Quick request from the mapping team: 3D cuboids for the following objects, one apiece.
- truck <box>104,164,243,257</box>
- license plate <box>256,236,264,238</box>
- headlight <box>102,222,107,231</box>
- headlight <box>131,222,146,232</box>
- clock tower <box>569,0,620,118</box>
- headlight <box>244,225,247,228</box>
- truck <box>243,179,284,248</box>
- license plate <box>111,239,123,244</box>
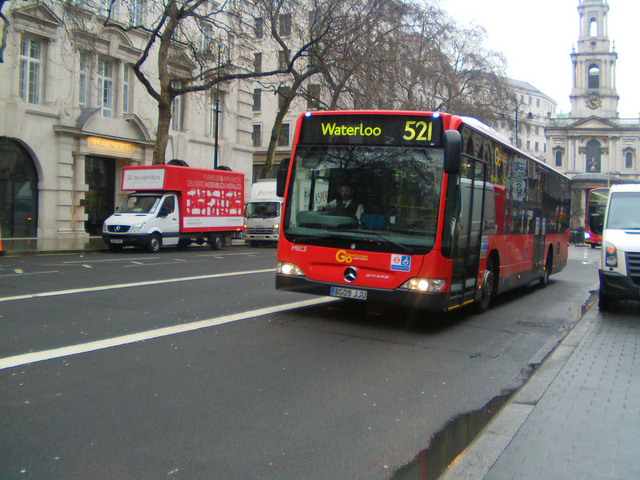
[{"bbox_3d":[-5.814,-1.219,24.098,2.281,3.747,6.786,-3,-1,29],"label":"truck"},{"bbox_3d":[-2.906,-0.153,27.891,0.462,0.098,0.037,5,7,29],"label":"license plate"},{"bbox_3d":[-8.024,-0.494,21.495,0.057,0.285,0.163,5,3,-39],"label":"headlight"},{"bbox_3d":[-6.679,-0.469,21.140,0.488,0.333,0.093,-3,6,-39],"label":"headlight"},{"bbox_3d":[42.156,-27.515,88.624,6.252,17.159,4.123,3,5,22],"label":"clock tower"},{"bbox_3d":[-3.648,-0.679,28.056,0.146,0.132,0.158,-3,3,-33],"label":"headlight"},{"bbox_3d":[-2.671,-0.833,30.944,1.651,3.675,6.292,0,-10,4],"label":"truck"},{"bbox_3d":[-7.466,0.032,21.173,0.480,0.143,0.031,3,5,13],"label":"license plate"}]
